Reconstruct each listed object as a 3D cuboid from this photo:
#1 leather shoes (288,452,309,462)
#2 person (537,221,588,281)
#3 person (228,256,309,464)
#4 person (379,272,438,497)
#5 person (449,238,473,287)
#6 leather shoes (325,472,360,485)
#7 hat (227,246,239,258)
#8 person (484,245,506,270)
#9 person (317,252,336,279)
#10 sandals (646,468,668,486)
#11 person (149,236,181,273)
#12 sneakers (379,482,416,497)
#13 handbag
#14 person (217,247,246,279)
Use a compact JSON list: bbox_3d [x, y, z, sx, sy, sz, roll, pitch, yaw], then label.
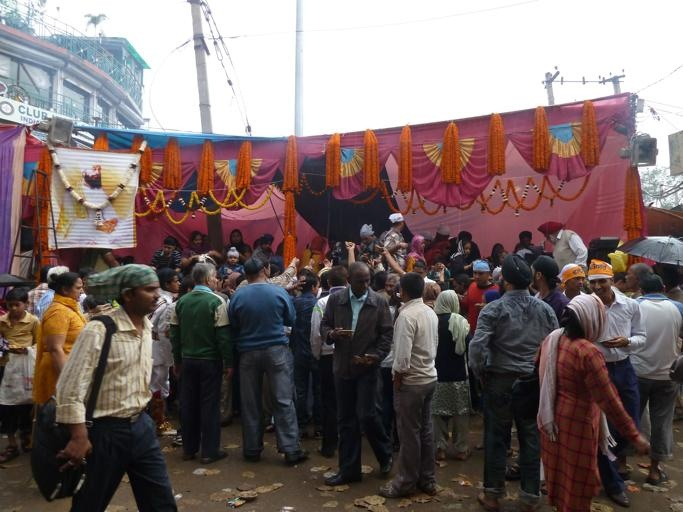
[{"bbox_3d":[-0.516,2.408,8.497,0.096,0.126,0.291,4,6,35],"label":"leather shoes"},{"bbox_3d":[3.373,-0.088,10.533,0.343,0.456,0.867,-31,46,-9],"label":"person"},{"bbox_3d":[-0.942,1.228,8.848,0.848,2.459,0.732,0,8,11],"label":"person"},{"bbox_3d":[0.799,1.402,7.672,0.582,2.353,0.682,3,11,18],"label":"person"},{"bbox_3d":[2.162,0.139,12.542,0.383,1.014,0.405,-4,26,-3],"label":"person"},{"bbox_3d":[0.006,2.514,7.924,0.434,0.180,0.154,5,-6,-7],"label":"leather shoes"},{"bbox_3d":[-1.897,-0.058,12.363,0.170,0.239,0.234,4,-21,-4],"label":"hat"},{"bbox_3d":[2.740,0.016,12.354,0.278,0.317,0.728,6,31,25],"label":"person"},{"bbox_3d":[-0.231,0.152,11.681,0.235,0.241,0.789,-15,-2,0],"label":"person"},{"bbox_3d":[3.581,2.472,7.909,0.296,0.128,0.113,0,-1,-41],"label":"sandals"},{"bbox_3d":[-3.149,0.079,12.603,0.569,0.812,0.566,2,24,-22],"label":"person"},{"bbox_3d":[0.606,2.546,7.727,0.431,0.192,0.157,3,-5,3],"label":"sneakers"},{"bbox_3d":[-2.362,1.332,6.188,0.748,1.554,0.324,-6,11,-26],"label":"handbag"},{"bbox_3d":[-1.910,0.133,12.305,0.502,0.735,0.412,1,-5,-7],"label":"person"}]
